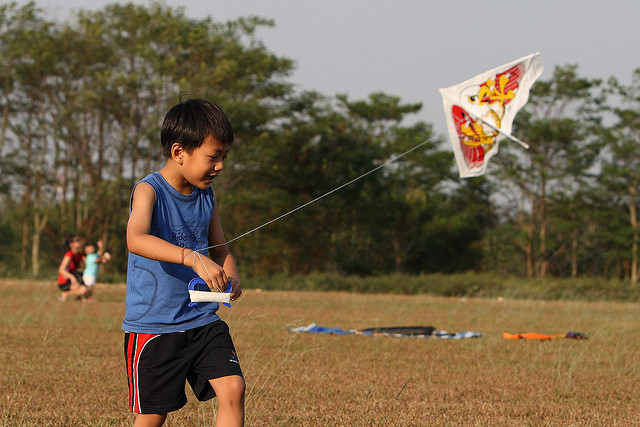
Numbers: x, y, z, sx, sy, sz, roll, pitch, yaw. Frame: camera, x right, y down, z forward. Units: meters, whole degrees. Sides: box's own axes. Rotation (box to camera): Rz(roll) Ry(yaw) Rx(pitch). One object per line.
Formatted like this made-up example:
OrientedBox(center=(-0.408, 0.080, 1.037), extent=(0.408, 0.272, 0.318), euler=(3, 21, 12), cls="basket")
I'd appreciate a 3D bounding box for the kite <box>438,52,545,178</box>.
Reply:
OrientedBox(center=(2.172, -1.114, 14.708), extent=(1.510, 1.358, 0.271), euler=(-30, 9, 1), cls="kite")
